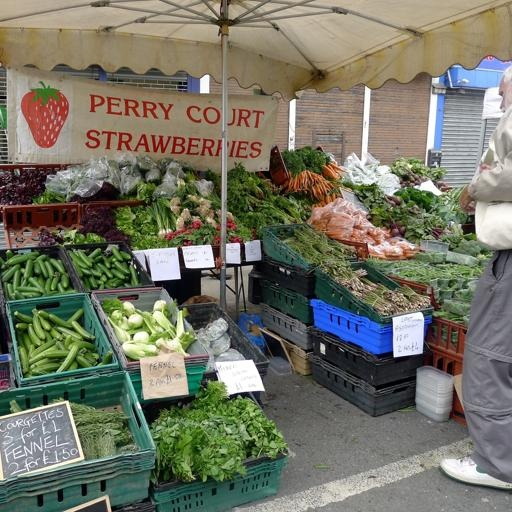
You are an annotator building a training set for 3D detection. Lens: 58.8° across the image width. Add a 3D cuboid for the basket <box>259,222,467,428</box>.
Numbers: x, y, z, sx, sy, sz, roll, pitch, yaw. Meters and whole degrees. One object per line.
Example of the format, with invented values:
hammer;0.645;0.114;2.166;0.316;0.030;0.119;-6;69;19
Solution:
basket;0.941;0.491;4.066;1.408;1.268;1.172;-6;16;-27
